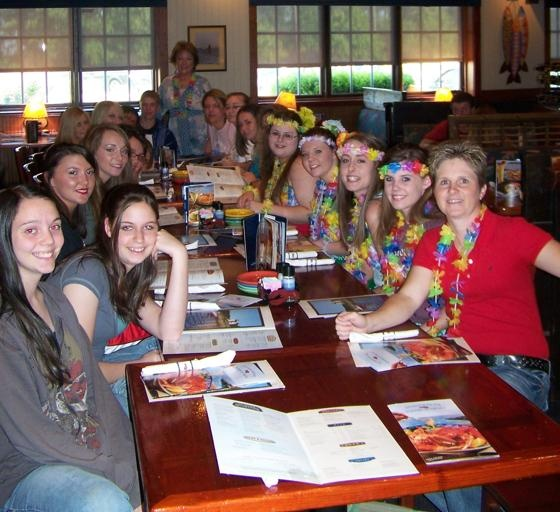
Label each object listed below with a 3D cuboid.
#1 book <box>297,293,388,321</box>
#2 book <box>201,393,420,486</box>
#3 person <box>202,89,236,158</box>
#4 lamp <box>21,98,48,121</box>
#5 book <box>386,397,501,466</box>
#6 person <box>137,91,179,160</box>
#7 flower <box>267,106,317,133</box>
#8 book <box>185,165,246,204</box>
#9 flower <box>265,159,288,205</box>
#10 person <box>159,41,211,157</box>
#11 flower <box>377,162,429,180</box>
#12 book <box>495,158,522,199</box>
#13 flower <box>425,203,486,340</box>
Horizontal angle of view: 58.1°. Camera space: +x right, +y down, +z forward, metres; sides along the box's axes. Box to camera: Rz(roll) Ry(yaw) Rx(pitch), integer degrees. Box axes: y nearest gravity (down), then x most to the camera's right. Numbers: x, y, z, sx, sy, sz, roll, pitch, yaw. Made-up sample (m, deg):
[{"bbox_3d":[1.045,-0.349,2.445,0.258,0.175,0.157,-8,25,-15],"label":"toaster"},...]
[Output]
[{"bbox_3d":[0.228,0.191,1.856,0.382,0.017,0.341,-2,8,5],"label":"book"},{"bbox_3d":[0.040,0.372,1.060,0.382,0.019,0.345,-2,13,-10],"label":"book"},{"bbox_3d":[-0.799,-1.720,6.568,0.407,0.879,1.092,-2,13,-9],"label":"person"},{"bbox_3d":[-3.803,-2.276,7.826,0.319,0.389,1.156,-6,14,-22],"label":"lamp"},{"bbox_3d":[0.346,0.373,1.094,0.152,0.009,0.284,-1,7,-2],"label":"book"},{"bbox_3d":[-1.630,-1.738,6.704,0.472,0.895,0.498,-4,14,-14],"label":"person"},{"bbox_3d":[0.084,-1.119,4.126,0.464,0.232,0.326,0,6,-9],"label":"flower"},{"bbox_3d":[-0.512,-0.638,4.300,0.442,0.115,0.443,0,44,-36],"label":"book"},{"bbox_3d":[-0.035,-0.592,4.052,0.281,0.330,0.135,2,-15,-4],"label":"flower"},{"bbox_3d":[-1.503,-2.166,7.719,0.837,2.001,0.679,10,36,9],"label":"person"},{"bbox_3d":[0.596,-0.419,2.459,0.210,0.077,0.073,-2,-19,14],"label":"flower"},{"bbox_3d":[1.678,-0.578,3.721,0.221,0.276,0.029,1,-1,-9],"label":"book"},{"bbox_3d":[0.692,0.104,2.028,0.168,0.656,0.146,4,0,21],"label":"flower"}]
